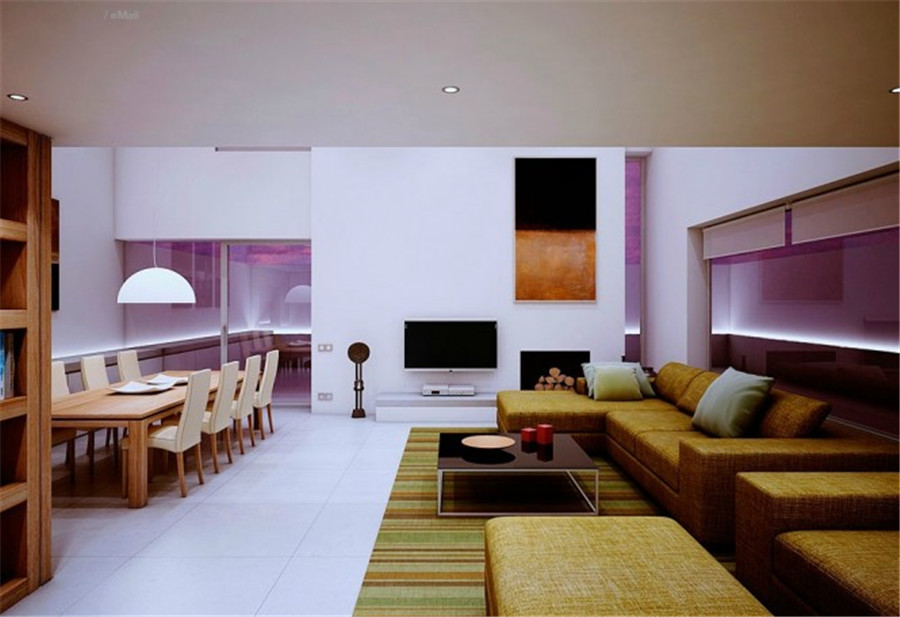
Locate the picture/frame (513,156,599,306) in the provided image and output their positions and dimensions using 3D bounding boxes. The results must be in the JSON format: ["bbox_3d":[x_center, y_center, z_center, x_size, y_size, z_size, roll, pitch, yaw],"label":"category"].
[{"bbox_3d":[1.429,-1.057,8.002,1.055,1.882,0.481,1,9,10],"label":"picture/frame"}]

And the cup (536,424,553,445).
[{"bbox_3d":[0.823,1.101,5.216,0.155,0.217,0.156,2,-1,0],"label":"cup"}]

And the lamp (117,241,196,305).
[{"bbox_3d":[-3.194,-0.358,6.607,0.667,0.728,0.669,0,-2,-14],"label":"lamp"}]

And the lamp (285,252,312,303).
[{"bbox_3d":[-2.121,-0.431,8.338,0.381,0.746,0.139,2,9,16],"label":"lamp"}]

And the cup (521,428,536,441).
[{"bbox_3d":[0.705,1.128,5.308,0.107,0.103,0.107,0,-1,0],"label":"cup"}]
